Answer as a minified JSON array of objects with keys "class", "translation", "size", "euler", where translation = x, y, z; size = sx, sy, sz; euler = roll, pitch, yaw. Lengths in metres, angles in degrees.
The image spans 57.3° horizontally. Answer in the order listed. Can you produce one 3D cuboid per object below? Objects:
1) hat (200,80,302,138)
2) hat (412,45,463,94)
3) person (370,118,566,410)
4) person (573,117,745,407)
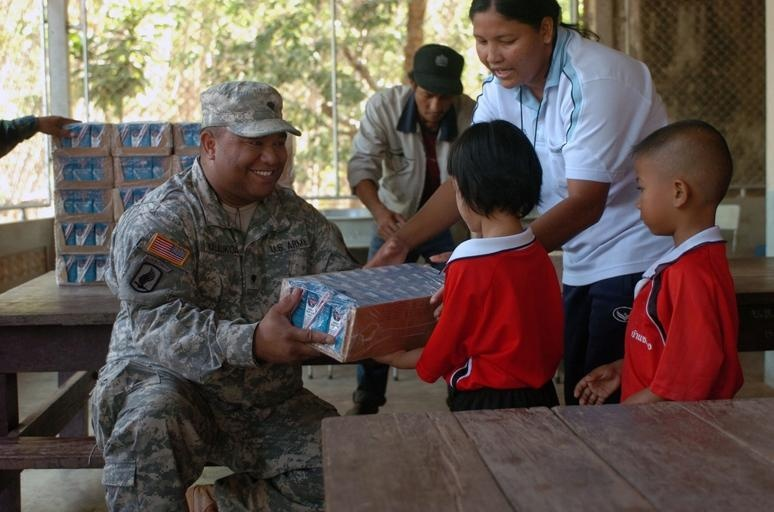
[{"class":"hat","translation":[-0.525,-0.551,2.682],"size":[0.302,0.153,0.230],"euler":[3,5,38]},{"class":"hat","translation":[0.278,-1.037,4.012],"size":[0.233,0.159,0.307],"euler":[3,35,-20]},{"class":"person","translation":[0.323,0.045,2.416],"size":[0.548,1.003,0.305],"euler":[1,6,13]},{"class":"person","translation":[0.917,0.061,2.382],"size":[0.446,1.040,0.496],"euler":[-5,8,-44]}]
